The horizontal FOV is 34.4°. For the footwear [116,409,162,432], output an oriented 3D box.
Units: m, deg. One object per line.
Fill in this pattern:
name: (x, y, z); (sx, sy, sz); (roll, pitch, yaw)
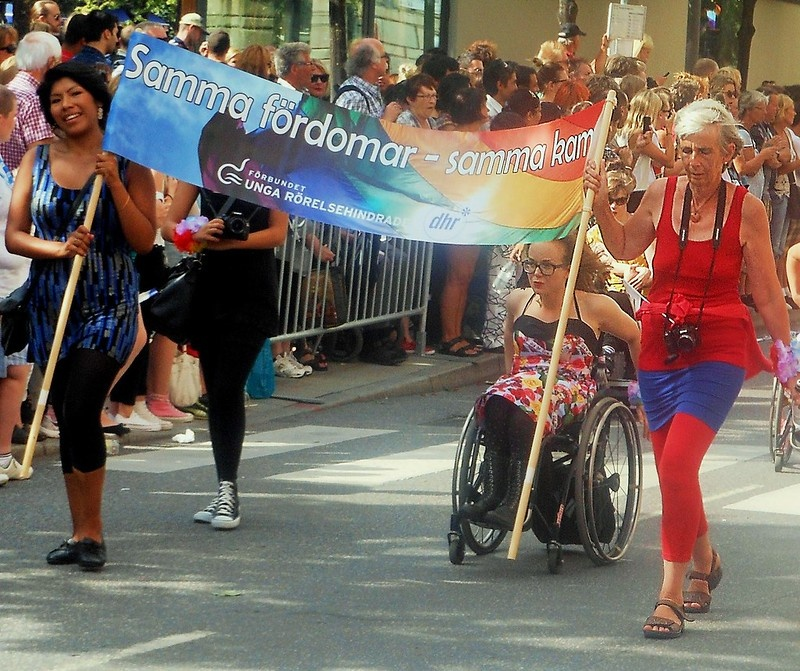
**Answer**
footwear: (-1.864, 0.611, 9.369); (0.361, 0.150, 0.129); (0, 6, -25)

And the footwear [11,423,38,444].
footwear: (-2.503, 0.645, 8.626); (0.069, 0.142, 0.205); (2, 13, 9)

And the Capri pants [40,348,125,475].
Capri pants: (-1.509, 0.366, 6.262); (0.284, 0.560, 0.204); (0, -9, 39)

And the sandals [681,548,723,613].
sandals: (1.412, 1.172, 6.152); (0.125, 0.153, 0.375); (-3, 14, 25)

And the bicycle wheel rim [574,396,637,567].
bicycle wheel rim: (1.046, 0.756, 6.644); (0.146, 0.824, 0.845); (3, 6, 25)

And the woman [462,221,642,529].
woman: (0.638, 0.216, 6.775); (0.792, 1.548, 1.318); (2, 0, 41)

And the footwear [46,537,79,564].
footwear: (-1.658, 1.072, 6.413); (0.197, 0.087, 0.089); (2, -2, 21)

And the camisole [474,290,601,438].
camisole: (0.708, 0.095, 6.711); (0.506, 0.647, 0.783); (7, 9, 25)

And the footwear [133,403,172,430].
footwear: (-1.809, 0.581, 9.512); (0.325, 0.196, 0.128); (13, 3, -20)

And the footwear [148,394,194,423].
footwear: (-1.668, 0.547, 9.708); (0.394, 0.213, 0.140); (2, 0, -29)

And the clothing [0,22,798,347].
clothing: (-0.036, -0.978, 8.669); (3.846, 1.236, 0.196); (13, 2, -24)

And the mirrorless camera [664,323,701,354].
mirrorless camera: (1.267, 0.009, 5.849); (0.164, 0.157, 0.123); (-8, 14, 19)

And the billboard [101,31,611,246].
billboard: (-0.176, -1.066, 7.284); (2.892, 0.928, 0.093); (7, 4, -19)

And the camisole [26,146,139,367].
camisole: (-1.578, -0.280, 6.375); (0.471, 1.216, 0.362); (0, -9, -2)

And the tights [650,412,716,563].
tights: (1.250, 0.669, 5.730); (0.228, 0.638, 0.216); (4, 8, 13)

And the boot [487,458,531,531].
boot: (0.538, 0.803, 6.384); (0.196, 0.351, 0.227); (5, 8, 23)

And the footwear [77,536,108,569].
footwear: (-1.488, 1.051, 6.336); (0.118, 0.150, 0.148); (3, 2, -19)

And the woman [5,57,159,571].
woman: (-1.560, -0.110, 6.403); (0.608, 2.444, 0.528); (6, 9, 28)

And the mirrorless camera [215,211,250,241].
mirrorless camera: (-0.873, -0.565, 6.922); (0.184, 0.166, 0.133); (1, -5, -21)

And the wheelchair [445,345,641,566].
wheelchair: (0.877, 0.603, 6.906); (1.005, 1.345, 0.811); (12, -13, -37)

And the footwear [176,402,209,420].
footwear: (-1.548, 0.580, 10.035); (0.308, 0.128, 0.104); (2, 4, -2)
